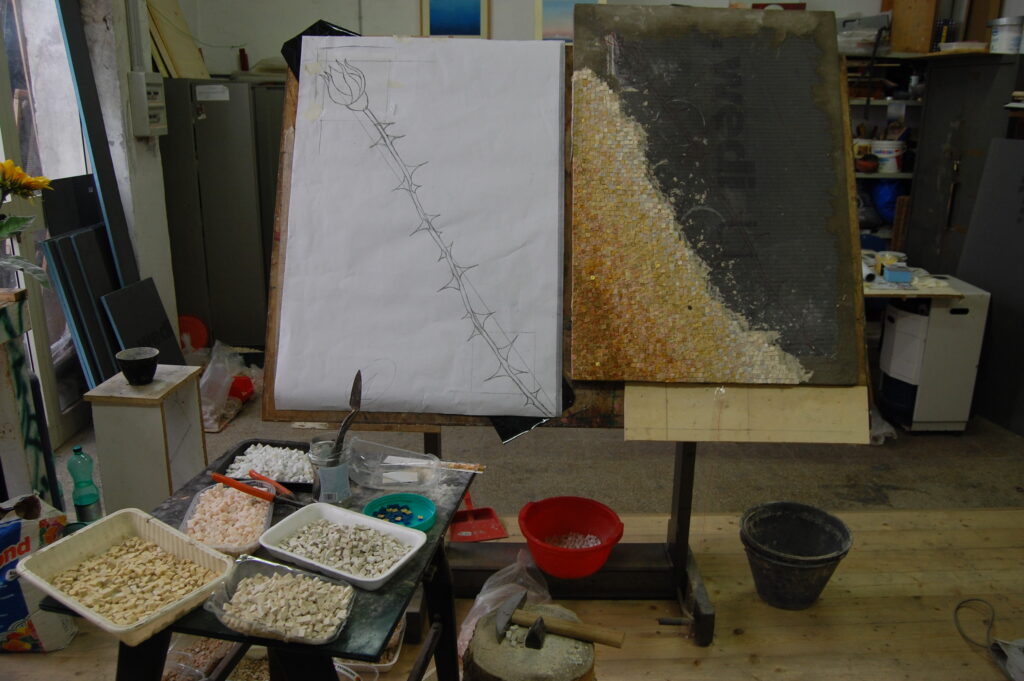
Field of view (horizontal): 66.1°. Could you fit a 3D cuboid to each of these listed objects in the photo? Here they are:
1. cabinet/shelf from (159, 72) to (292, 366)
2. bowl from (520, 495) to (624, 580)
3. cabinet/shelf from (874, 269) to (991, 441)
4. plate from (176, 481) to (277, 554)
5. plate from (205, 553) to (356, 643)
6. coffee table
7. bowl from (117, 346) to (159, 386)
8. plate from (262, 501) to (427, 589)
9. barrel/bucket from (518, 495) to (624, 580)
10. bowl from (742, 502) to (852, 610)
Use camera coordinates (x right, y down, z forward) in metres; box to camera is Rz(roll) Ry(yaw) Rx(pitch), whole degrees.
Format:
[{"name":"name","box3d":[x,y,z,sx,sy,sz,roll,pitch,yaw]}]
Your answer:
[{"name":"cabinet/shelf","box3d":[-1.986,-0.913,5.833,0.750,1.940,1.205,-1,19,-10]},{"name":"bowl","box3d":[0.260,0.880,3.519,0.445,0.242,0.314,-1,22,1]},{"name":"cabinet/shelf","box3d":[2.561,0.059,5.166,0.661,1.100,0.682,1,16,-2]},{"name":"plate","box3d":[-0.974,0.605,2.729,0.285,0.164,0.208,5,17,9]},{"name":"plate","box3d":[-0.716,0.806,2.439,0.380,0.080,0.221,16,47,10]},{"name":"coffee table","box3d":[-1.671,0.460,3.602,0.445,0.733,0.446,18,30,33]},{"name":"bowl","box3d":[-1.750,0.116,3.709,0.180,0.133,0.182,2,5,0]},{"name":"plate","box3d":[-0.569,0.690,2.621,0.543,0.125,0.411,12,16,22]},{"name":"barrel/bucket","box3d":[0.276,0.870,3.529,0.399,0.172,0.405,0,15,0]},{"name":"bowl","box3d":[1.285,0.991,3.618,0.455,0.408,0.369,9,25,24]}]
